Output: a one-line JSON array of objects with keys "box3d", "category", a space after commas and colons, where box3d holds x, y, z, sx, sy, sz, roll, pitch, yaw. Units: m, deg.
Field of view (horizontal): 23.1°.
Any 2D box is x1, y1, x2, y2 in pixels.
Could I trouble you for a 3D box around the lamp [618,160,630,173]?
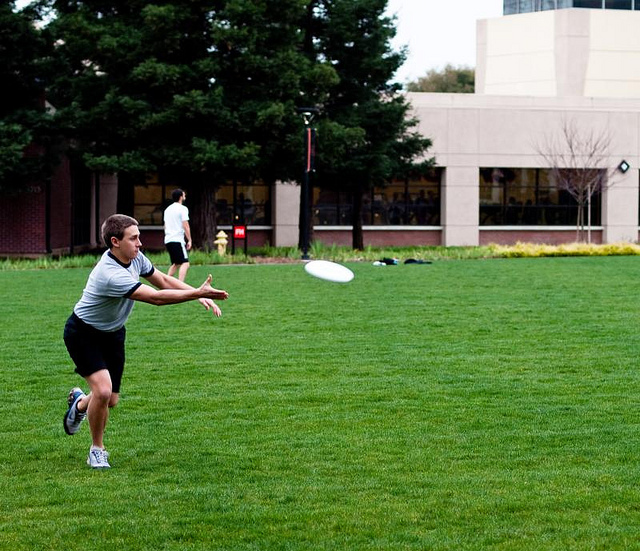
[{"box3d": [10.847, -4.025, 56.008, 0.446, 0.433, 0.177, 0, 1, -43], "category": "lamp"}]
